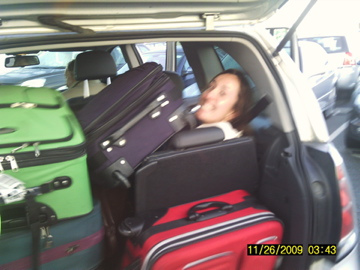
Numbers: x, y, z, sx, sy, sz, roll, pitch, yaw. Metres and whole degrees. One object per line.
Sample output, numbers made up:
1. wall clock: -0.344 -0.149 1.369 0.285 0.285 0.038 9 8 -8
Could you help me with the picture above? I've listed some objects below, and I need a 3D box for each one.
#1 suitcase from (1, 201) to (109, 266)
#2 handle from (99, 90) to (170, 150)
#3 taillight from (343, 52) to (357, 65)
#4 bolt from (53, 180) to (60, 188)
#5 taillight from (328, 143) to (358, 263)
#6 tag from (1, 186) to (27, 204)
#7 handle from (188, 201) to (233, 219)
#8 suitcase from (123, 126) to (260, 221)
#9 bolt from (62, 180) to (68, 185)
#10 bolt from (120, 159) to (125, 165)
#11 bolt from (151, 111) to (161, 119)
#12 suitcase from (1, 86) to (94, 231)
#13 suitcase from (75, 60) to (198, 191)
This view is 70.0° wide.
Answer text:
1. suitcase: -0.513 0.436 1.127 0.390 0.257 0.229 -8 41 -7
2. handle: -0.213 -0.070 1.222 0.438 0.061 0.035 -37 24 -15
3. taillight: 3.312 -1.479 5.051 0.241 0.230 0.057 -8 -4 3
4. bolt: -0.465 0.186 0.976 0.023 0.033 0.019 7 20 -25
5. taillight: 0.738 0.289 1.165 0.113 0.440 0.345 -1 18 29
6. tag: -0.587 0.215 0.914 0.065 0.019 0.047 -6 6 -2
7. handle: 0.121 0.323 1.151 0.143 0.024 0.071 -5 31 -13
8. suitcase: 0.099 0.160 1.275 0.716 0.346 0.249 -9 8 -17
9. bolt: -0.439 0.183 0.988 0.024 0.016 0.013 0 -3 -12
10. bolt: -0.267 0.126 1.196 0.025 0.022 0.006 5 -5 -15
11. bolt: -0.113 -0.098 1.234 0.034 0.008 0.035 -40 -4 40
12. suitcase: -0.574 0.072 1.061 0.362 0.539 0.351 -16 17 -20
13. suitcase: -0.122 0.036 1.436 0.642 0.231 0.638 -38 54 4
